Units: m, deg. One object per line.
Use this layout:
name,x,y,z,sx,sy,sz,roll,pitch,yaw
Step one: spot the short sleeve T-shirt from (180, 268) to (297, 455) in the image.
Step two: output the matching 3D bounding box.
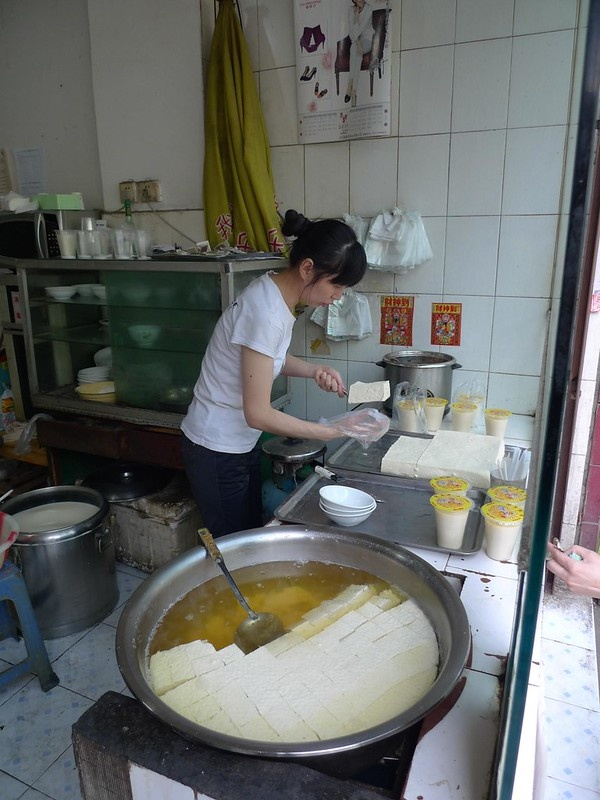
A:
short sleeve T-shirt,-0.180,-0.129,1.834,0.290,0.548,0.459,17,9,4

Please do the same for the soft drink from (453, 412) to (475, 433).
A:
soft drink,0.600,0.077,2.116,0.079,0.089,0.078,5,15,16

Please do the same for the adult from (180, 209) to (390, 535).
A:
adult,-0.107,0.013,1.762,0.329,1.074,0.528,-11,19,-36

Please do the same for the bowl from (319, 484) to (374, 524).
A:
bowl,0.115,0.256,1.463,0.102,0.048,0.102,-1,15,0

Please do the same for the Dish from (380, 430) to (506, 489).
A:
Dish,0.445,0.170,1.767,0.219,0.043,0.221,4,16,26

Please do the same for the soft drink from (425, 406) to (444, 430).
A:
soft drink,0.523,0.065,2.215,0.087,0.087,0.087,2,7,24

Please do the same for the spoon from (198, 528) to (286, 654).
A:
spoon,-0.115,0.381,1.070,0.082,0.050,0.294,-19,51,-20

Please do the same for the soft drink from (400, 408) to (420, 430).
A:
soft drink,0.400,0.073,2.119,0.074,0.095,0.087,4,15,12

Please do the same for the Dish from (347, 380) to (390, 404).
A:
Dish,0.248,-0.028,2.034,0.115,0.033,0.089,-6,52,15

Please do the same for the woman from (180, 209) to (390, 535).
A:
woman,-0.107,0.016,1.762,0.329,1.080,0.528,-11,19,-36

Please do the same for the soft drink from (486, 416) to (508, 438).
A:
soft drink,0.700,0.095,2.047,0.074,0.077,0.072,6,17,14

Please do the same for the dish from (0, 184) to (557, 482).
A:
dish,-0.075,-0.298,2.410,1.481,0.902,0.475,5,13,20

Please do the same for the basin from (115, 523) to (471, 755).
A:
basin,0.025,0.450,1.042,0.558,0.556,0.115,-18,22,5

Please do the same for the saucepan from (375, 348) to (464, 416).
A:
saucepan,0.528,-0.055,2.537,0.305,0.256,0.306,-5,4,-27
